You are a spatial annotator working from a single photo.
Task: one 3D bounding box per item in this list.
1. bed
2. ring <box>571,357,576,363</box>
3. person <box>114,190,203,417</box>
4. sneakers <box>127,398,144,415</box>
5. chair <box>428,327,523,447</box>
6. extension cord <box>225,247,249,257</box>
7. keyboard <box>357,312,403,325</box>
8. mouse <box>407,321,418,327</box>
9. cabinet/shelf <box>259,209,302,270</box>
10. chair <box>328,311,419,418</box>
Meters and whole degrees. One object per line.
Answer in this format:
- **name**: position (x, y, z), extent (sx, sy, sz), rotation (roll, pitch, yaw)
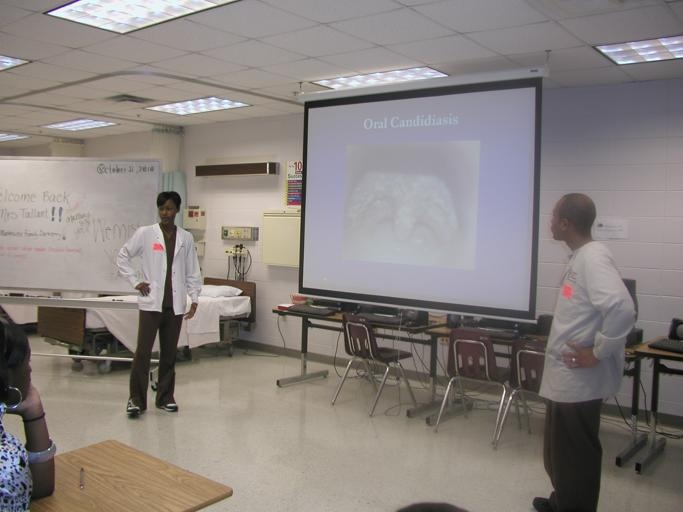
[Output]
- **bed**: position (-2.592, 0.970, 7.017), extent (2.103, 1.012, 1.455), rotation (2, -2, -43)
- **ring**: position (1.462, 0.657, 3.126), extent (0.014, 0.030, 0.038), rotation (22, -7, -38)
- **person**: position (-1.868, 0.482, 5.109), extent (0.823, 2.280, 0.377), rotation (0, 4, -17)
- **sneakers**: position (-2.075, 1.532, 5.019), extent (0.177, 0.186, 0.126), rotation (-1, 4, -25)
- **chair**: position (1.362, 1.173, 4.890), extent (0.635, 1.009, 0.744), rotation (1, 3, 25)
- **extension cord**: position (-1.734, -0.075, 8.066), extent (0.520, 0.155, 0.155), rotation (4, 5, 35)
- **keyboard**: position (0.434, 0.677, 5.352), extent (0.313, 0.034, 0.165), rotation (5, 6, 42)
- **mouse**: position (0.761, 0.708, 5.217), extent (0.123, 0.058, 0.028), rotation (0, 4, -15)
- **cabinet/shelf**: position (-0.741, -0.258, 7.543), extent (0.851, 0.849, 0.500), rotation (4, 1, 40)
- **chair**: position (0.382, 1.125, 5.415), extent (0.723, 0.973, 0.787), rotation (1, -1, 29)
